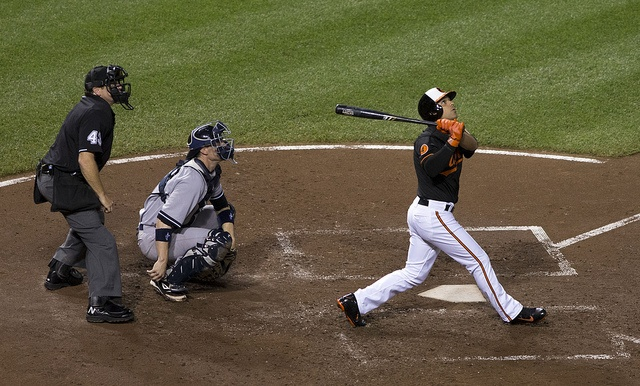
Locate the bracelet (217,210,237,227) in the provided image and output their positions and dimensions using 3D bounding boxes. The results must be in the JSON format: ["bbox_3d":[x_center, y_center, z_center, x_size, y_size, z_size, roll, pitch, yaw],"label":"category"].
[{"bbox_3d":[-1.242,0.351,11.131,0.268,0.140,0.230,-1,3,16],"label":"bracelet"}]

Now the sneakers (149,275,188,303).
[{"bbox_3d":[-1.939,1.244,10.791,0.614,0.231,0.215,17,22,12],"label":"sneakers"}]

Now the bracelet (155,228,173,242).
[{"bbox_3d":[-1.998,0.538,10.566,0.225,0.112,0.192,2,-5,-15],"label":"bracelet"}]

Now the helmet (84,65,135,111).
[{"bbox_3d":[-2.766,-1.342,10.530,0.696,0.430,0.423,-2,5,-11],"label":"helmet"}]

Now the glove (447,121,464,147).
[{"bbox_3d":[1.669,-0.710,10.003,0.219,0.274,0.113,14,15,26],"label":"glove"}]

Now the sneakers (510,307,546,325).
[{"bbox_3d":[2.656,1.543,10.321,0.559,0.178,0.171,-7,3,7],"label":"sneakers"}]

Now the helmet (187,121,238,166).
[{"bbox_3d":[-1.436,-0.648,10.722,0.702,0.409,0.382,-1,6,-3],"label":"helmet"}]
